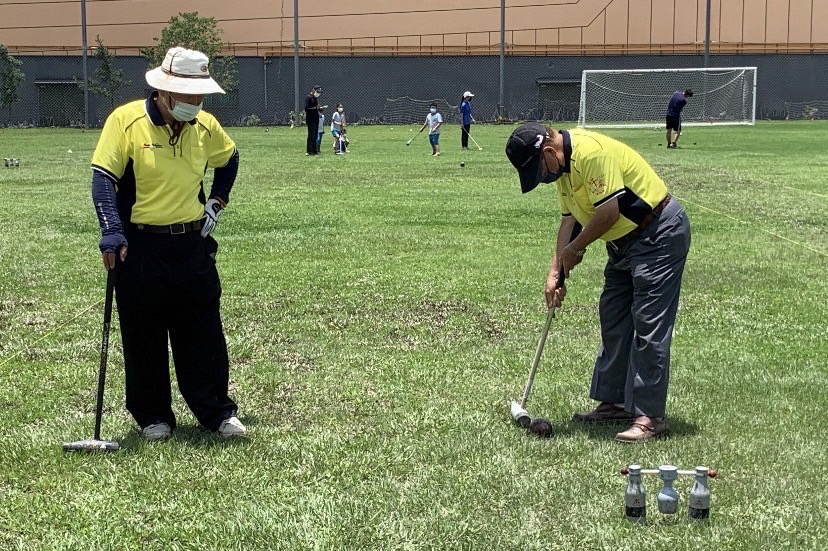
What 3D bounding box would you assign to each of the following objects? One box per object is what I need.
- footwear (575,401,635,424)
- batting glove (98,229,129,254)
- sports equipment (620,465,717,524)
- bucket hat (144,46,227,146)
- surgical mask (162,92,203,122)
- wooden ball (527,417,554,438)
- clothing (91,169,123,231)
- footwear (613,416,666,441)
[{"bbox_3d":[1.713,1.226,9.947,0.543,0.199,0.197,0,-2,-2],"label":"footwear"},{"bbox_3d":[-2.506,-0.272,9.187,0.274,0.245,0.156,2,-19,-14],"label":"batting glove"},{"bbox_3d":[1.980,1.618,8.668,0.734,0.455,0.552,1,12,2],"label":"sports equipment"},{"bbox_3d":[-1.991,-1.615,9.517,0.778,0.677,0.867,5,19,-29],"label":"bucket hat"},{"bbox_3d":[-1.980,-1.436,9.334,0.357,0.255,0.225,-3,12,-15],"label":"surgical mask"},{"bbox_3d":[1.102,1.340,9.680,0.162,0.069,0.171,6,-17,2],"label":"wooden ball"},{"bbox_3d":[-2.564,-0.586,9.239,0.227,0.744,0.183,-13,37,-35],"label":"clothing"},{"bbox_3d":[1.957,1.329,9.560,0.445,0.161,0.179,-4,-2,-36],"label":"footwear"}]
